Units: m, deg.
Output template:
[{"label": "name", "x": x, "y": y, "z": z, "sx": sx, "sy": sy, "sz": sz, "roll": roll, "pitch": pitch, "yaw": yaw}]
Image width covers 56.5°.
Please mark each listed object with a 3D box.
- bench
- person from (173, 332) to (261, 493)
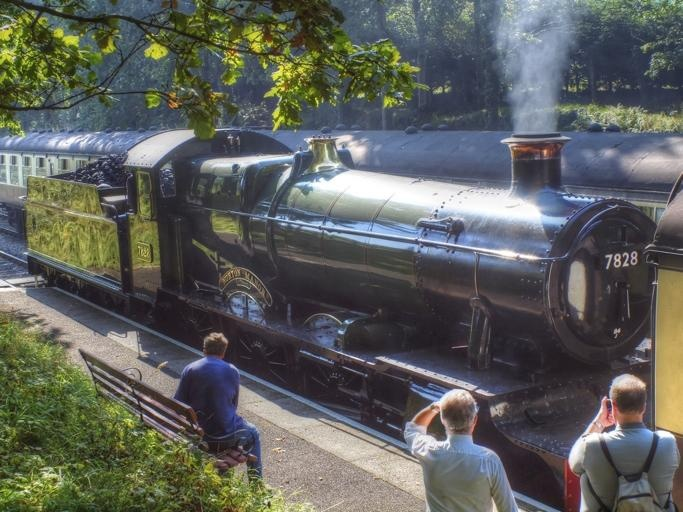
[{"label": "bench", "x": -1.701, "y": 1.342, "z": 5.813, "sx": 2.003, "sy": 0.665, "sz": 0.538, "roll": 8, "pitch": 15, "yaw": 44}, {"label": "person", "x": -1.062, "y": 1.272, "z": 5.499, "sx": 0.666, "sy": 1.110, "sz": 0.426, "roll": 8, "pitch": 15, "yaw": 33}]
